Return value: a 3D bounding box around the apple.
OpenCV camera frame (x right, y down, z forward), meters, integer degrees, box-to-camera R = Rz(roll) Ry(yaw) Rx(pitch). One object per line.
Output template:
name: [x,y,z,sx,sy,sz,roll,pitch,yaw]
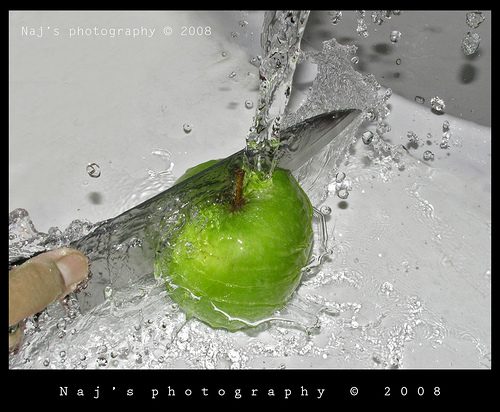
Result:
apple: [-0.041,0.100,1.204,0.273,0.339,0.341,-1,49,-3]
